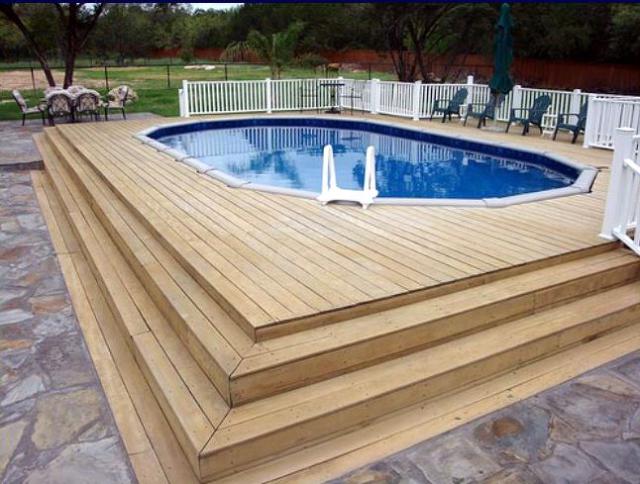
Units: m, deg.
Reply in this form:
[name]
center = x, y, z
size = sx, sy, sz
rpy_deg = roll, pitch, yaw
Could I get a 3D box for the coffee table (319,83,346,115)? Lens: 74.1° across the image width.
[coffee table]
center = 0.509, -5.798, 17.049
size = 0.937, 1.183, 1.637
rpy_deg = -2, 21, -8
